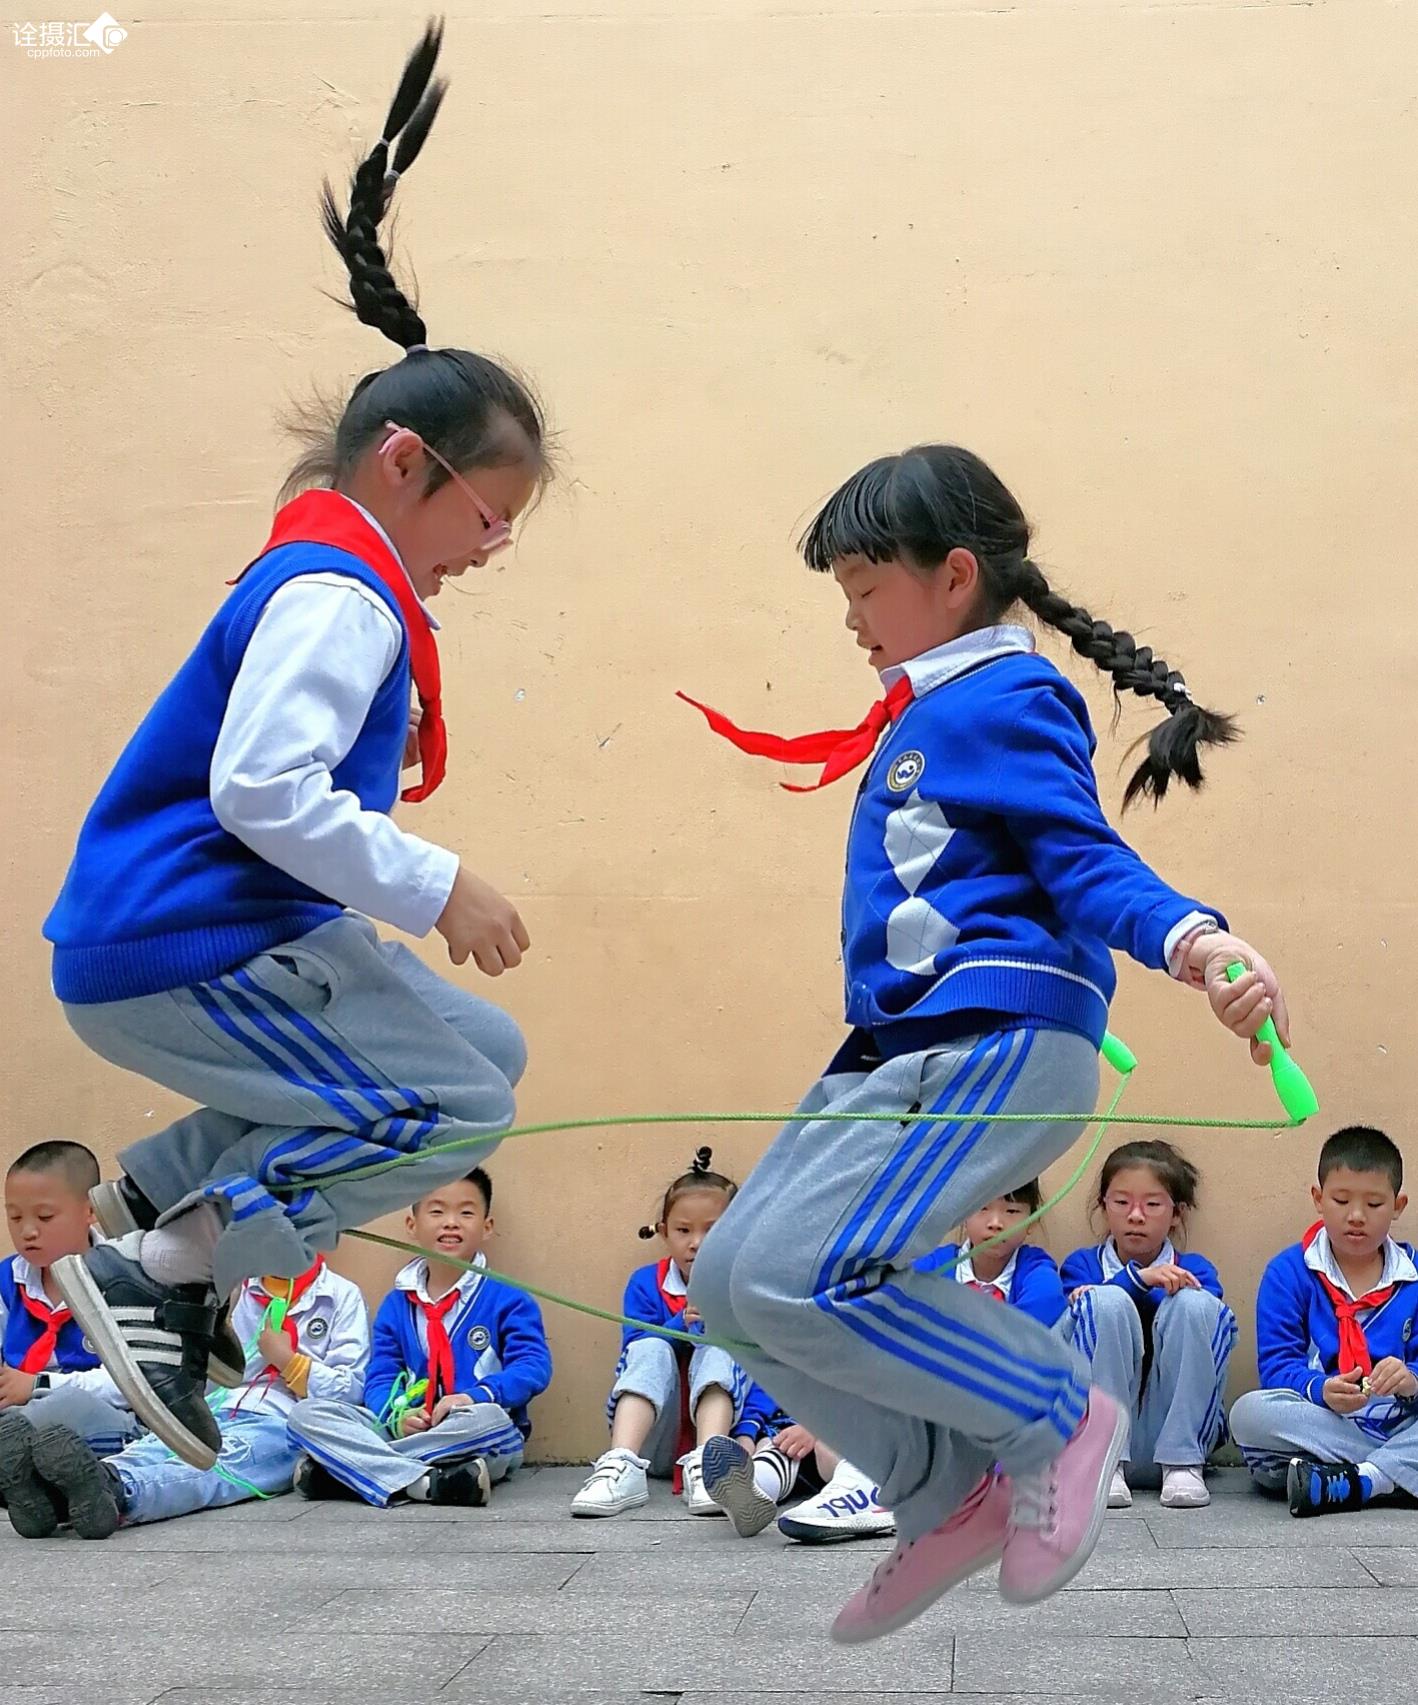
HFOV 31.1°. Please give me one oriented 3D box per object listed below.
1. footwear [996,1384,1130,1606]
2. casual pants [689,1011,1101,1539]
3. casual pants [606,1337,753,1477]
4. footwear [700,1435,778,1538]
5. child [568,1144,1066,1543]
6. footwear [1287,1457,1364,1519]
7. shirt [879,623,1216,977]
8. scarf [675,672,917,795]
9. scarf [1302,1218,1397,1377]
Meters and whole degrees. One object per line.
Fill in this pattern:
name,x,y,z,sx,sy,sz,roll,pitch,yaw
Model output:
footwear,0.386,0.714,2.831,0.110,0.251,0.104,46,-30,-20
casual pants,0.208,0.484,2.791,0.453,0.576,0.242,-2,-2,5
casual pants,-0.042,0.864,4.100,0.273,0.314,0.132,3,-14,-3
footwear,0.040,0.902,3.639,0.081,0.159,0.079,-37,-1,-8
child,0.334,0.832,4.003,0.582,0.707,0.882,-7,-17,24
footwear,0.895,0.939,3.737,0.135,0.071,0.060,1,-3,-41
shirt,0.392,-0.055,2.992,0.325,0.338,0.610,10,-17,-15
scarf,0.115,-0.168,3.246,0.317,0.068,0.102,-7,3,8
scarf,1.025,0.728,4.037,0.158,0.187,0.057,0,-33,-1
